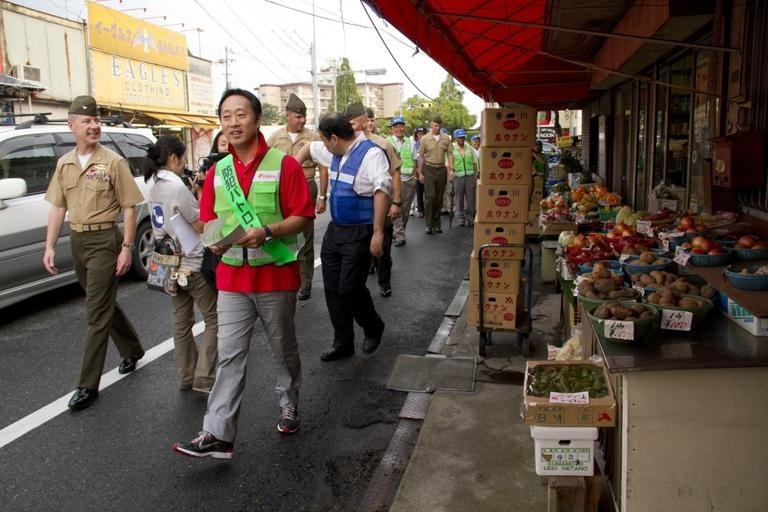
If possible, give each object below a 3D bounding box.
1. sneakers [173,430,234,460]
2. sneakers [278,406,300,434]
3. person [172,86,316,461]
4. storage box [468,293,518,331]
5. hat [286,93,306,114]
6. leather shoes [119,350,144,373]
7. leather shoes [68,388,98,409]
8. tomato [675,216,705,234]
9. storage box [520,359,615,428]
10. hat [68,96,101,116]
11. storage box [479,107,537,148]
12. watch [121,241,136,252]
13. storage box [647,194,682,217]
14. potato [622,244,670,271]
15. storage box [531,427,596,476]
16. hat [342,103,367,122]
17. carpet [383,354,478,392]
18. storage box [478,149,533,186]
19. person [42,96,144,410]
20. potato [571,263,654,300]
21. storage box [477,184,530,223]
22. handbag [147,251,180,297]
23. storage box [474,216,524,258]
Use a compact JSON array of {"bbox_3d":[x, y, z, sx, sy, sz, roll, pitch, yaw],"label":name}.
[{"bbox_3d":[-1.328,1.450,4.115,0.543,0.216,0.178,11,-4,-14],"label":"sneakers"},{"bbox_3d":[-0.812,1.404,4.474,0.124,0.102,0.285,1,-6,-3],"label":"sneakers"},{"bbox_3d":[-1.120,0.144,4.191,1.006,2.799,0.621,-12,18,-41],"label":"person"},{"bbox_3d":[1.208,0.609,5.876,0.476,0.245,0.443,2,4,9],"label":"storage box"},{"bbox_3d":[-1.217,-2.049,7.252,0.373,0.224,0.262,12,19,36],"label":"hat"},{"bbox_3d":[-2.663,1.132,5.612,0.139,0.124,0.290,3,19,12],"label":"leather shoes"},{"bbox_3d":[-2.779,1.329,4.873,0.126,0.116,0.298,2,-4,7],"label":"leather shoes"},{"bbox_3d":[2.695,-0.272,4.681,0.227,0.084,0.203,-1,-8,-15],"label":"tomato"},{"bbox_3d":[1.102,0.839,3.186,0.542,0.124,0.514,0,11,11],"label":"storage box"},{"bbox_3d":[-2.914,-1.432,5.125,0.317,0.168,0.231,6,11,25],"label":"hat"},{"bbox_3d":[1.341,-1.314,5.687,0.548,0.277,0.494,1,5,6],"label":"storage box"},{"bbox_3d":[-2.486,-0.087,5.149,0.131,0.062,0.112,6,-10,2],"label":"watch"},{"bbox_3d":[3.450,-0.606,6.498,0.535,0.263,0.489,1,2,19],"label":"storage box"},{"bbox_3d":[2.161,0.007,4.441,0.286,0.101,0.255,-2,5,-7],"label":"potato"},{"bbox_3d":[1.064,1.145,3.213,0.366,0.216,0.329,0,-1,6],"label":"storage box"},{"bbox_3d":[-0.377,-1.777,6.636,0.357,0.157,0.227,-18,13,-14],"label":"hat"},{"bbox_3d":[0.504,1.199,5.351,0.859,0.105,0.781,2,11,11],"label":"carpet"},{"bbox_3d":[1.319,-0.950,5.818,0.512,0.254,0.448,1,7,5],"label":"storage box"},{"bbox_3d":[-2.798,-0.109,5.175,0.899,2.811,1.104,-8,16,-29],"label":"person"},{"bbox_3d":[1.568,0.163,3.801,0.330,0.124,0.330,-1,5,-1],"label":"potato"},{"bbox_3d":[1.272,-0.551,5.675,0.513,0.260,0.478,1,7,5],"label":"storage box"},{"bbox_3d":[-2.091,0.137,5.075,0.347,0.385,0.294,1,6,-15],"label":"handbag"},{"bbox_3d":[1.226,-0.190,5.675,0.490,0.247,0.444,0,7,0],"label":"storage box"}]
